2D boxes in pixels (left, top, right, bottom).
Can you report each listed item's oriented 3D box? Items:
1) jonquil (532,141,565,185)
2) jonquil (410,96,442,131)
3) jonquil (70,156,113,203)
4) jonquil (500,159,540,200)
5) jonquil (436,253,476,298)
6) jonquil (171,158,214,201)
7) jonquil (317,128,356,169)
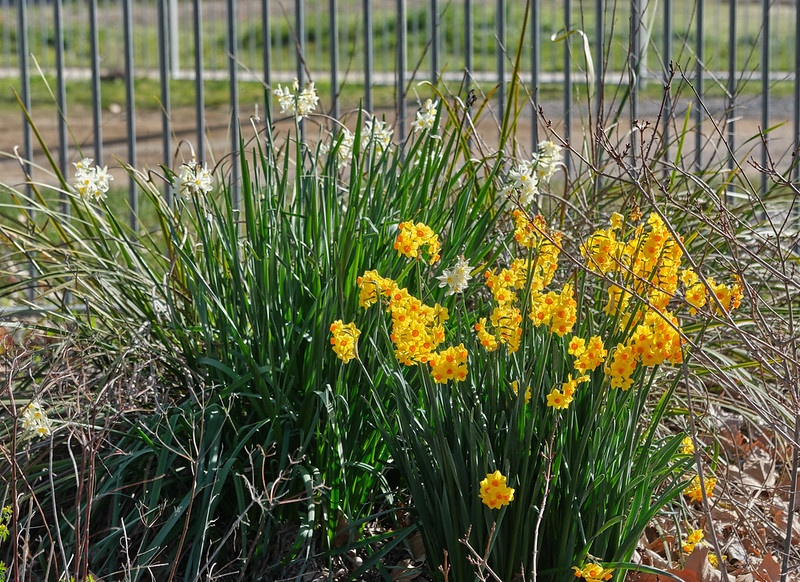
[{"bbox_3d":[0.504,-0.420,3.206,0.121,0.212,0.124,2,3,32],"label":"jonquil"},{"bbox_3d":[0.096,-0.646,3.557,0.033,0.116,0.123,23,37,-15],"label":"jonquil"},{"bbox_3d":[-1.174,-0.423,3.575,0.122,0.187,0.337,-7,16,-18],"label":"jonquil"},{"bbox_3d":[0.418,-0.378,3.207,0.114,0.137,0.220,-1,16,10],"label":"jonquil"},{"bbox_3d":[0.167,-0.064,2.967,0.117,0.135,0.067,40,18,35],"label":"jonquil"},{"bbox_3d":[-0.746,-0.400,3.376,0.125,0.135,0.157,-6,15,-10],"label":"jonquil"},{"bbox_3d":[-0.240,-0.552,3.573,0.120,0.120,0.165,-13,55,-7],"label":"jonquil"}]
